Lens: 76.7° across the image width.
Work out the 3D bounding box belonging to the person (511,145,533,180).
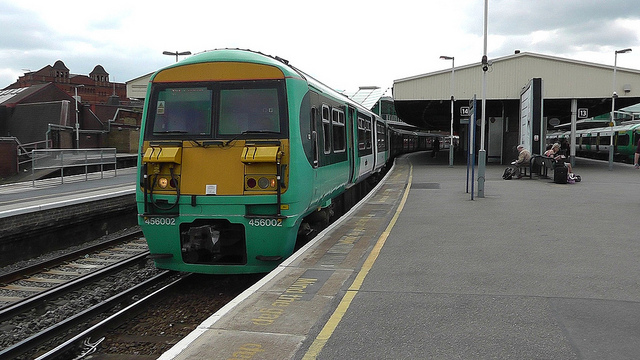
[{"bbox_3d":[11.143,-0.937,22.252,0.859,1.781,1.446,9,16,38],"label":"person"}]

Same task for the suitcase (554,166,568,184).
[{"bbox_3d":[11.893,-0.202,19.876,0.557,0.787,0.435,5,14,24],"label":"suitcase"}]

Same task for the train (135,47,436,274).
[{"bbox_3d":[-1.065,-0.591,10.766,3.086,5.427,6.471,9,16,38],"label":"train"}]

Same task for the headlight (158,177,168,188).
[{"bbox_3d":[-3.598,0.068,9.256,0.231,0.215,0.076,-2,1,6],"label":"headlight"}]

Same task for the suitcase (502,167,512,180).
[{"bbox_3d":[10.346,-0.361,22.208,0.442,0.551,0.800,4,14,23],"label":"suitcase"}]

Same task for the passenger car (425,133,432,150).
[{"bbox_3d":[18.824,-6.574,69.870,1.854,2.242,3.435,0,0,18],"label":"passenger car"}]

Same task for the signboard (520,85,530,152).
[{"bbox_3d":[11.884,-3.591,23.266,0.376,3.551,3.107,4,14,21],"label":"signboard"}]

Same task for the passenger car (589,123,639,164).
[{"bbox_3d":[29.300,-3.641,40.343,1.732,4.299,9.255,3,13,21],"label":"passenger car"}]

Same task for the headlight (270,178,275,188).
[{"bbox_3d":[-1.057,0.065,9.022,0.098,0.205,0.052,-1,13,3],"label":"headlight"}]
